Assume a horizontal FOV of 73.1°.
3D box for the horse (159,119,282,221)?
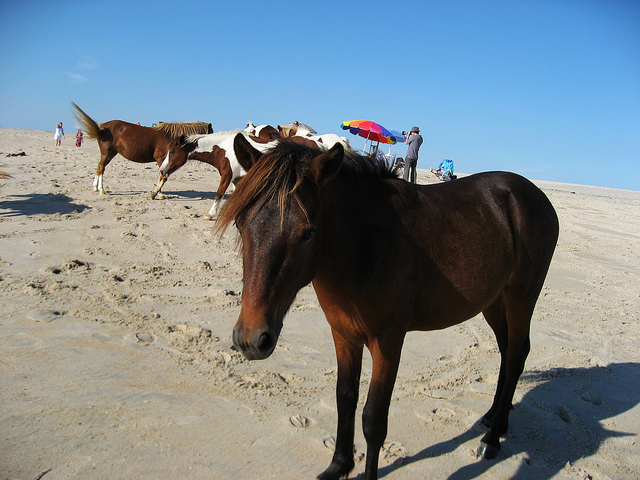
[{"bbox_3d":[-2.104,-1.702,11.686,4.143,2.496,1.170,-3,-7,-2],"label":"horse"}]
